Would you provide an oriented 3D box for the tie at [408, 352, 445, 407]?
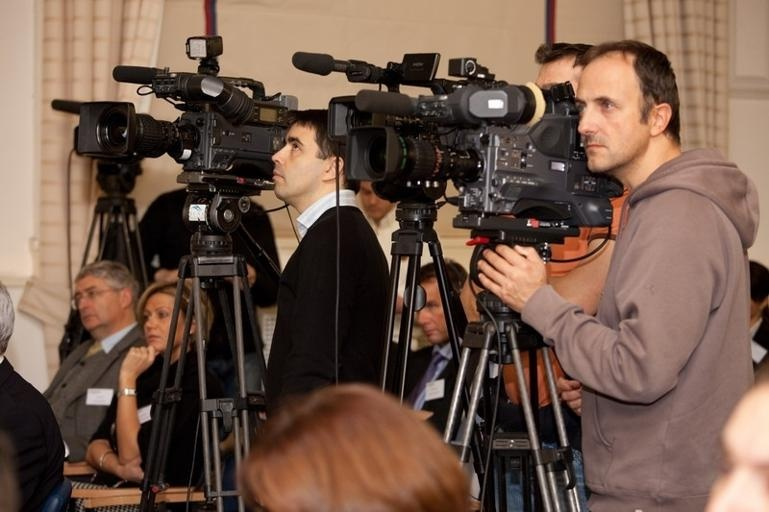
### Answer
[{"bbox_3d":[0.214,0.586,4.152,0.070,0.268,0.167,13,14,-32],"label":"tie"}]

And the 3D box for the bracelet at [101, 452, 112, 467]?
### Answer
[{"bbox_3d":[-1.308,0.950,4.015,0.018,0.066,0.068,6,24,-6],"label":"bracelet"}]

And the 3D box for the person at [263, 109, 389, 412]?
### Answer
[{"bbox_3d":[-0.203,0.005,3.208,0.456,1.163,0.675,2,4,-5],"label":"person"}]

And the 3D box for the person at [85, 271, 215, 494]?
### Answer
[{"bbox_3d":[-1.073,0.601,3.891,0.515,0.955,0.661,14,-20,-23],"label":"person"}]

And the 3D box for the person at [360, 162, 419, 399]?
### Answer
[{"bbox_3d":[0.036,-0.117,5.400,0.294,1.152,0.289,-4,5,6],"label":"person"}]
